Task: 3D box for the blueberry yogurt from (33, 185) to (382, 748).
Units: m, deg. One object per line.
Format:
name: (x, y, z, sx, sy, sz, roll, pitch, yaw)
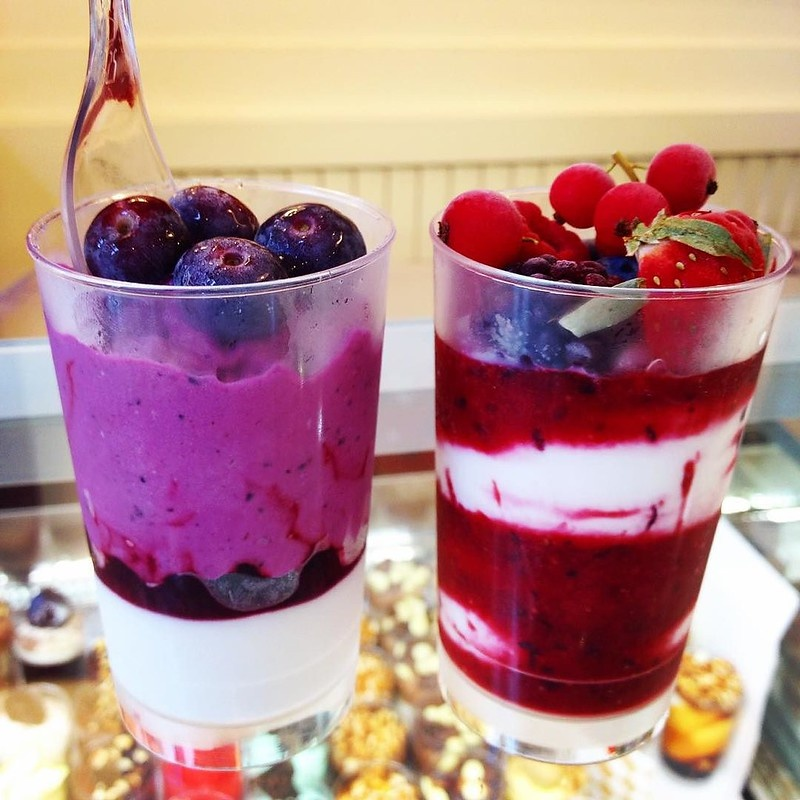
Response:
blueberry yogurt: (-0.104, 0.038, 0.624, 0.214, 0.326, 0.255, -3, 31, -1)
